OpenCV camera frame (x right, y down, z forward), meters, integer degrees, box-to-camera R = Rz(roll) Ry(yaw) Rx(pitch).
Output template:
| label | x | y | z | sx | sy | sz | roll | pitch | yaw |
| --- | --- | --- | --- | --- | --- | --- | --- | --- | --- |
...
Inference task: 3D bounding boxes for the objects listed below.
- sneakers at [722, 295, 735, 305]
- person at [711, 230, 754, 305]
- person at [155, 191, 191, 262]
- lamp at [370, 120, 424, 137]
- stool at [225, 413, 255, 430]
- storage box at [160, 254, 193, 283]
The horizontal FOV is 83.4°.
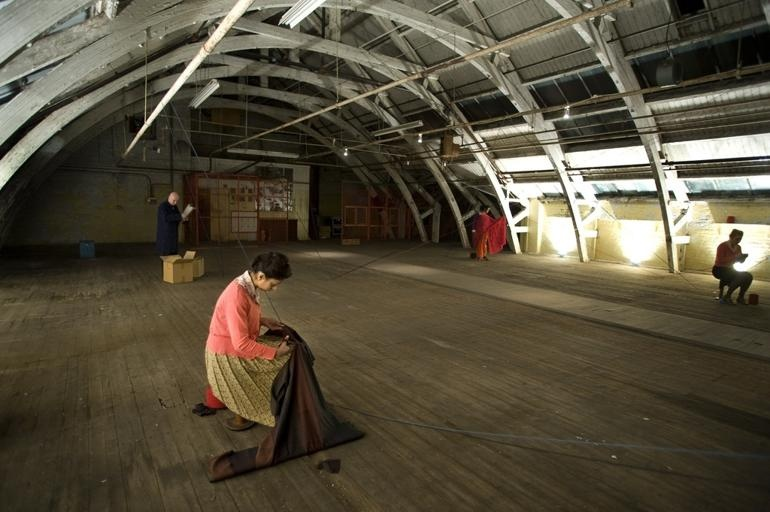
| label | x | y | z | sx | sy | sz | roll | pitch | yaw |
| --- | --- | --- | --- | --- | --- | --- | --- | --- | --- |
| sneakers | 7.027 | 0.899 | 8.841 | 0.241 | 0.148 | 0.365 | 12 | 18 | 37 |
| person | 7.141 | 0.209 | 8.874 | 0.556 | 1.489 | 0.662 | -5 | 17 | -20 |
| person | -5.080 | -0.722 | 10.228 | 0.790 | 1.587 | 1.314 | -7 | 17 | -26 |
| lamp | 0.412 | -4.685 | 15.804 | 1.323 | 0.410 | 3.720 | -3 | 14 | -17 |
| stool | -1.495 | 1.700 | 4.402 | 0.265 | 0.105 | 0.166 | -1 | 12 | -9 |
| storage box | -4.841 | 0.274 | 10.081 | 0.794 | 0.454 | 0.661 | 4 | 6 | 21 |
